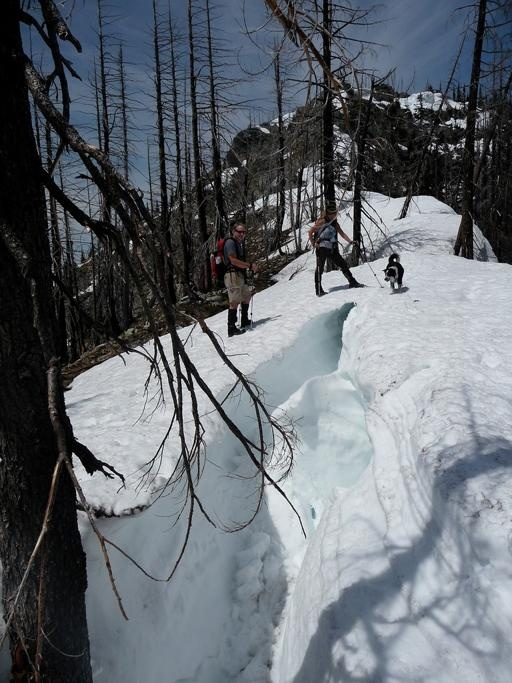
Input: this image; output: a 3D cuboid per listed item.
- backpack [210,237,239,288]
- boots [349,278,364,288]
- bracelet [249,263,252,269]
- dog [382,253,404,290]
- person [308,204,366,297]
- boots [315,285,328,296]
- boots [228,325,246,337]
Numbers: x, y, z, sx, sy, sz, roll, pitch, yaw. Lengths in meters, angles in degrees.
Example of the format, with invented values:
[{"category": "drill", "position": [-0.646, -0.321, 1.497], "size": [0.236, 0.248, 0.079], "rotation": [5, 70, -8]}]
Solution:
[{"category": "backpack", "position": [-0.397, -1.072, 7.806], "size": [0.406, 0.675, 0.794], "rotation": [-5, 16, -3]}, {"category": "boots", "position": [1.594, -0.918, 9.195], "size": [0.169, 0.196, 0.091], "rotation": [-24, 34, -3]}, {"category": "bracelet", "position": [-0.063, -0.926, 7.261], "size": [0.015, 0.066, 0.191], "rotation": [-7, 16, -11]}, {"category": "dog", "position": [2.076, -1.070, 8.660], "size": [0.238, 0.539, 0.690], "rotation": [0, 17, 15]}, {"category": "person", "position": [1.183, -1.316, 8.433], "size": [0.612, 1.327, 0.429], "rotation": [-7, -13, 12]}, {"category": "boots", "position": [1.019, -0.766, 9.119], "size": [0.121, 0.204, 0.317], "rotation": [-7, 5, 1]}, {"category": "boots", "position": [-0.267, -0.149, 8.319], "size": [0.251, 0.202, 0.098], "rotation": [-20, 19, -33]}]
